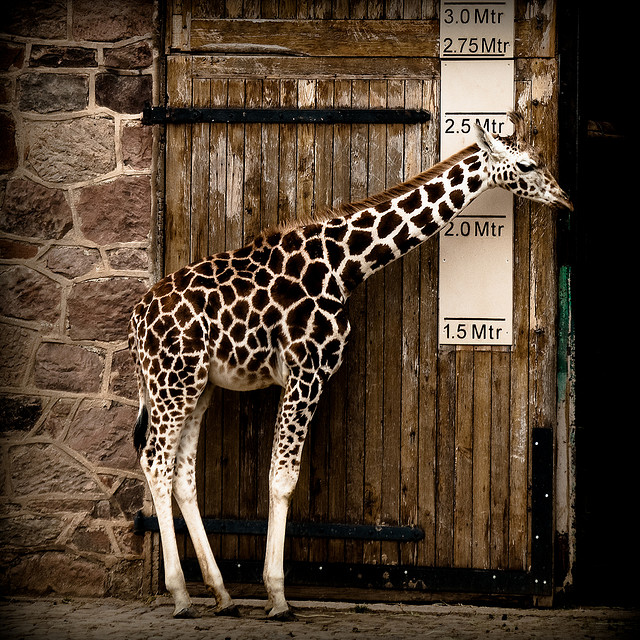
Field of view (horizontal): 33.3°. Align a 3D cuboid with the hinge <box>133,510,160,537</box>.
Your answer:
[{"bbox_3d":[-0.876,1.019,5.331,0.130,0.136,0.059,1,1,-3],"label":"hinge"}]
